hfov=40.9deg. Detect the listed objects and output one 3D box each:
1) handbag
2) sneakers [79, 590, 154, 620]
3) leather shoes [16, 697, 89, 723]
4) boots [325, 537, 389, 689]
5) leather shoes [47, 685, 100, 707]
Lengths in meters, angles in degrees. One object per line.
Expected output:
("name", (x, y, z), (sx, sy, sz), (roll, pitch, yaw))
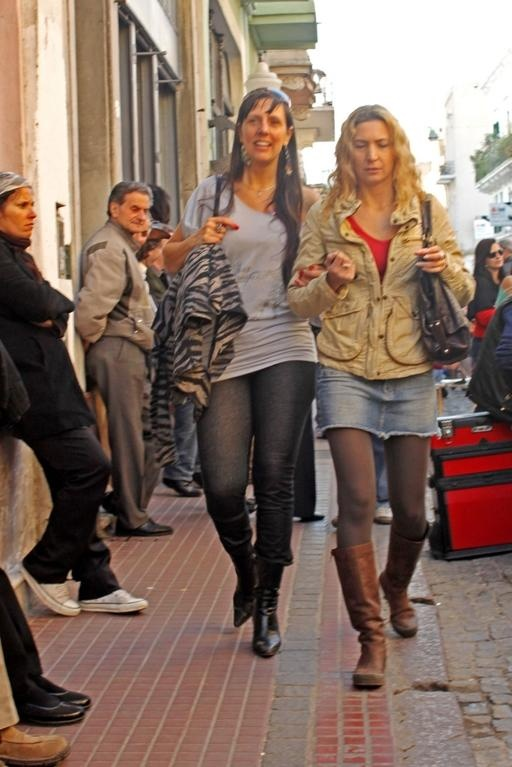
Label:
("handbag", (0.668, -0.391, 2.483), (0.165, 0.631, 0.256), (-5, -4, 33))
("sneakers", (-0.658, 1.040, 3.301), (0.353, 0.115, 0.125), (0, 0, 19))
("leather shoes", (-0.570, 0.923, 1.933), (0.201, 0.077, 0.070), (1, 4, -10))
("boots", (0.348, 0.777, 2.327), (0.164, 0.463, 0.173), (-3, -4, 7))
("leather shoes", (-0.544, 0.939, 2.064), (0.156, 0.042, 0.055), (33, 6, -28))
